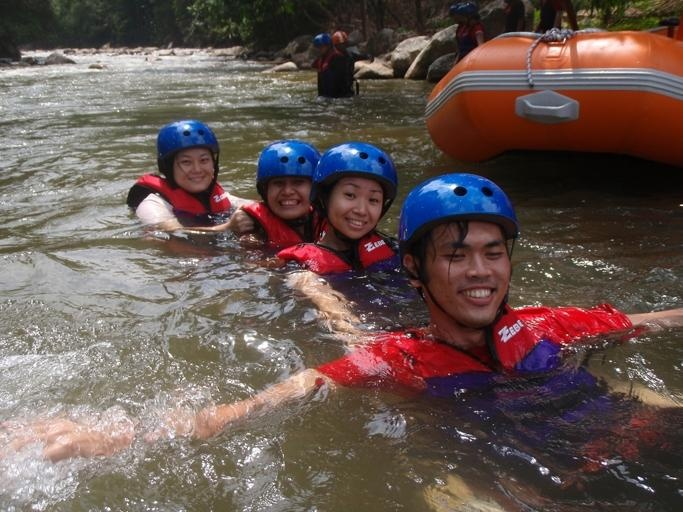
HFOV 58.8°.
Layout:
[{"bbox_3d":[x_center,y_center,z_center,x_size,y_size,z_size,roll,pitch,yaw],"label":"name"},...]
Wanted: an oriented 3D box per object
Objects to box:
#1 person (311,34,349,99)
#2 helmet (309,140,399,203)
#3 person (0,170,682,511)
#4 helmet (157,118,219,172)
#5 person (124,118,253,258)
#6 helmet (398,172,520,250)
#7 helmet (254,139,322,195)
[{"bbox_3d":[-0.151,-4.273,13.769,0.792,1.188,1.296,-5,24,-4],"label":"person"},{"bbox_3d":[0.106,-0.602,4.197,0.430,0.467,0.330,11,63,-10],"label":"helmet"},{"bbox_3d":[0.442,0.253,2.780,2.962,1.004,1.186,-5,24,-7],"label":"person"},{"bbox_3d":[-1.453,-1.027,5.698,0.566,0.462,0.341,-8,25,-13],"label":"helmet"},{"bbox_3d":[-1.178,-0.698,5.585,1.496,1.079,1.148,1,11,43],"label":"person"},{"bbox_3d":[0.566,-0.246,3.138,0.463,0.460,0.328,7,63,-6],"label":"helmet"},{"bbox_3d":[-0.412,-0.739,4.897,0.410,0.390,0.462,1,3,-7],"label":"helmet"}]
